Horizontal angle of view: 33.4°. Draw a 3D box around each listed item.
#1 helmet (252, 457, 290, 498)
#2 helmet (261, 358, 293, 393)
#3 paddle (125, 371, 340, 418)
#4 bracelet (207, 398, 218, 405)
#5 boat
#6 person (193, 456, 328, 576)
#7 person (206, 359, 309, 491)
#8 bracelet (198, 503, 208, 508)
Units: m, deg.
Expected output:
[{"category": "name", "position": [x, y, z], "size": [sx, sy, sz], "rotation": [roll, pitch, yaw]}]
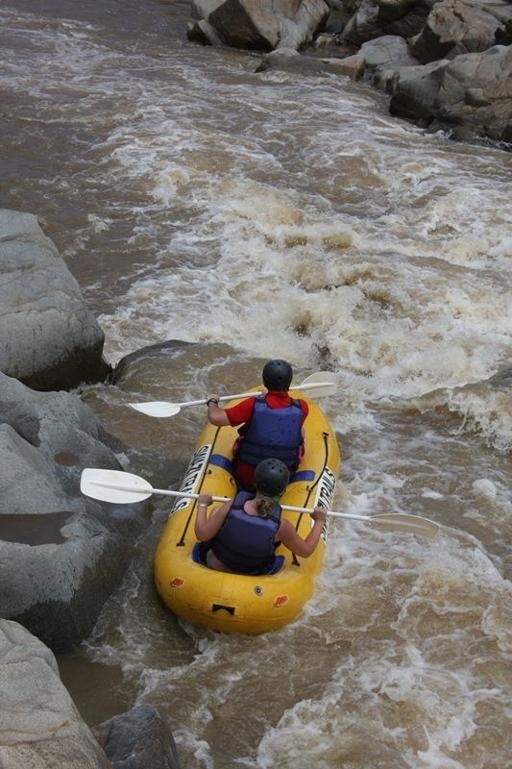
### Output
[{"category": "helmet", "position": [0.077, 0.537, 4.894], "size": [0.192, 0.217, 0.222], "rotation": [9, 30, -5]}, {"category": "helmet", "position": [0.143, -0.069, 5.732], "size": [0.196, 0.203, 0.226], "rotation": [4, 27, 0]}, {"category": "paddle", "position": [-0.232, 0.093, 6.926], "size": [1.364, 0.198, 0.084], "rotation": [-10, 52, -10]}, {"category": "bracelet", "position": [-0.308, 0.121, 6.086], "size": [0.053, 0.021, 0.064], "rotation": [1, 9, 6]}, {"category": "boat", "position": [-0.005, 0.830, 6.080], "size": [1.093, 0.548, 2.164], "rotation": [9, 34, 6]}, {"category": "person", "position": [0.017, 0.807, 5.141], "size": [0.786, 0.900, 0.417], "rotation": [10, 23, 3]}, {"category": "person", "position": [0.005, 0.315, 6.064], "size": [0.865, 1.191, 0.636], "rotation": [5, 49, -5]}, {"category": "bracelet", "position": [-0.335, 0.732, 5.220], "size": [0.037, 0.013, 0.036], "rotation": [-26, 51, -26]}]
